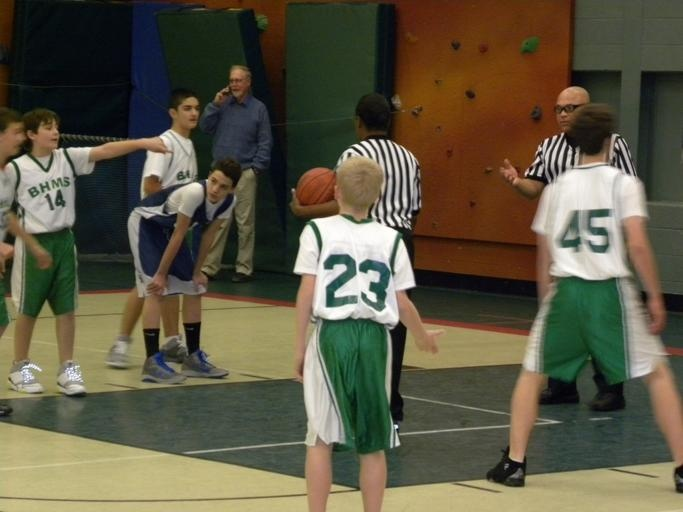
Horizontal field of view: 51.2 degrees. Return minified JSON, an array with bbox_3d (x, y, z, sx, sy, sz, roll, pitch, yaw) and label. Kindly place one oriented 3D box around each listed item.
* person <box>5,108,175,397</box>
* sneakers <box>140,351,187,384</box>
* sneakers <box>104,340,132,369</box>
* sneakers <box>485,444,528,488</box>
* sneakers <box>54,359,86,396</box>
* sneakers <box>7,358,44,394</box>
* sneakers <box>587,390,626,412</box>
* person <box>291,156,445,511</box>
[{"bbox_3d":[-1.931,-0.030,4.988,0.732,1.981,0.460,0,4,-25],"label":"person"},{"bbox_3d":[-1.288,0.858,5.346,0.420,0.251,0.159,2,-2,11],"label":"sneakers"},{"bbox_3d":[-1.819,0.803,5.779,0.159,0.282,0.295,3,6,-17],"label":"sneakers"},{"bbox_3d":[0.791,1.031,3.460,0.090,0.170,0.247,5,-1,-29],"label":"sneakers"},{"bbox_3d":[-1.927,0.858,5.010,0.123,0.174,0.361,0,1,-29],"label":"sneakers"},{"bbox_3d":[-2.262,0.858,5.125,0.187,0.221,0.438,0,1,-39],"label":"sneakers"},{"bbox_3d":[1.813,0.989,4.872,0.250,0.149,0.120,3,1,-3],"label":"sneakers"},{"bbox_3d":[0.065,0.343,2.767,0.509,1.466,0.419,2,3,2],"label":"person"}]
